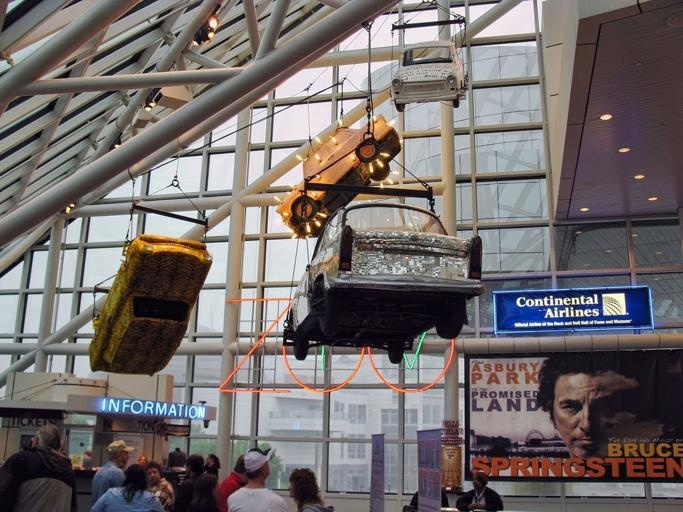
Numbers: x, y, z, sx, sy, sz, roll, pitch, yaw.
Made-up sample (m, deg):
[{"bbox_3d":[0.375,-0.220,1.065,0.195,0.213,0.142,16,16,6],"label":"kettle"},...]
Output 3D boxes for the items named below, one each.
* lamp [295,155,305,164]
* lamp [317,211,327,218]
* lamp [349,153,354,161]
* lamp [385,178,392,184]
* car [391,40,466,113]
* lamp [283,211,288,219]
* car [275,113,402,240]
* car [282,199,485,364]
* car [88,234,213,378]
[{"bbox_3d":[-1.092,-2.669,21.416,0.087,0.213,0.290,-40,-9,-11],"label":"lamp"},{"bbox_3d":[-0.419,-1.014,18.920,0.156,0.038,0.158,-5,-46,-11],"label":"lamp"},{"bbox_3d":[0.287,-2.283,17.897,0.127,0.120,0.117,6,-18,-13],"label":"lamp"},{"bbox_3d":[1.340,-2.039,21.239,0.226,0.059,0.245,-7,-10,38],"label":"lamp"},{"bbox_3d":[1.928,-3.915,16.897,1.177,0.793,1.790,-4,23,13],"label":"car"},{"bbox_3d":[-1.320,-0.994,19.004,0.131,0.123,0.032,30,37,22],"label":"lamp"},{"bbox_3d":[-0.016,-2.305,18.550,1.686,3.808,1.845,41,-3,7],"label":"car"},{"bbox_3d":[0.658,0.308,13.149,2.294,2.201,3.281,8,-18,-18],"label":"car"},{"bbox_3d":[-3.486,0.801,14.146,1.478,1.148,3.189,16,-53,-23],"label":"car"}]
